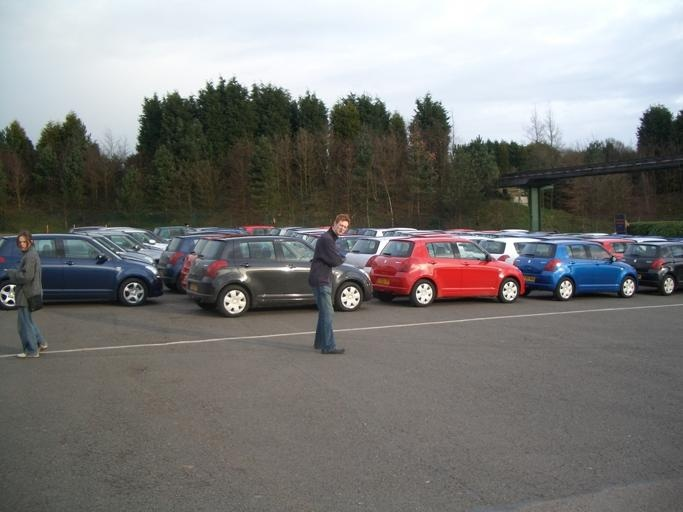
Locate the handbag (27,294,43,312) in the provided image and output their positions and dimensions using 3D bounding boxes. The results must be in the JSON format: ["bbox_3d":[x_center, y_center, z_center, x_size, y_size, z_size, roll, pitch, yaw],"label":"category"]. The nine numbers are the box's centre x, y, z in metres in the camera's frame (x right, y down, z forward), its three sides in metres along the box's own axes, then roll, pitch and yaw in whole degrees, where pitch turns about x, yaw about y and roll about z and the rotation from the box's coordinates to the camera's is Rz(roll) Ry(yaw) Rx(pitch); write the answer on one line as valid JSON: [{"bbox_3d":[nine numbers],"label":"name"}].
[{"bbox_3d":[-5.031,0.753,8.966,0.216,0.254,0.129,-18,31,-34],"label":"handbag"}]

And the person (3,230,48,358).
[{"bbox_3d":[-5.255,0.611,9.193,0.501,2.036,0.876,-2,4,-29],"label":"person"}]

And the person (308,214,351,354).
[{"bbox_3d":[-0.237,0.464,9.757,0.664,2.392,0.824,0,4,-5],"label":"person"}]
